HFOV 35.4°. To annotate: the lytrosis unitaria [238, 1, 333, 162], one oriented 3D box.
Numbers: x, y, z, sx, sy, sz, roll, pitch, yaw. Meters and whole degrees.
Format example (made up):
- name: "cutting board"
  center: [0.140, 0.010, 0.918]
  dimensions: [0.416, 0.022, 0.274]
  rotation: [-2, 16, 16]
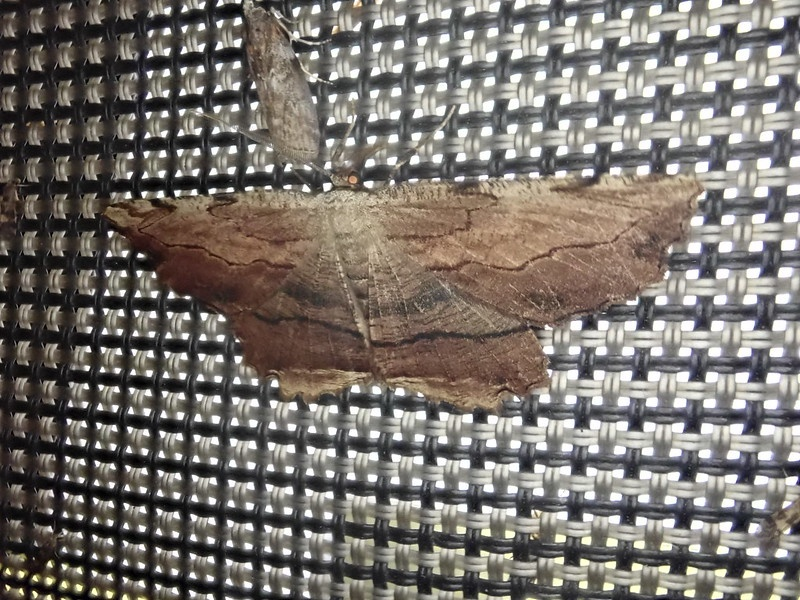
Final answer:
- name: "lytrosis unitaria"
  center: [-0.241, -0.435, 2.518]
  dimensions: [0.176, 0.293, 0.057]
  rotation: [-19, -8, 19]
